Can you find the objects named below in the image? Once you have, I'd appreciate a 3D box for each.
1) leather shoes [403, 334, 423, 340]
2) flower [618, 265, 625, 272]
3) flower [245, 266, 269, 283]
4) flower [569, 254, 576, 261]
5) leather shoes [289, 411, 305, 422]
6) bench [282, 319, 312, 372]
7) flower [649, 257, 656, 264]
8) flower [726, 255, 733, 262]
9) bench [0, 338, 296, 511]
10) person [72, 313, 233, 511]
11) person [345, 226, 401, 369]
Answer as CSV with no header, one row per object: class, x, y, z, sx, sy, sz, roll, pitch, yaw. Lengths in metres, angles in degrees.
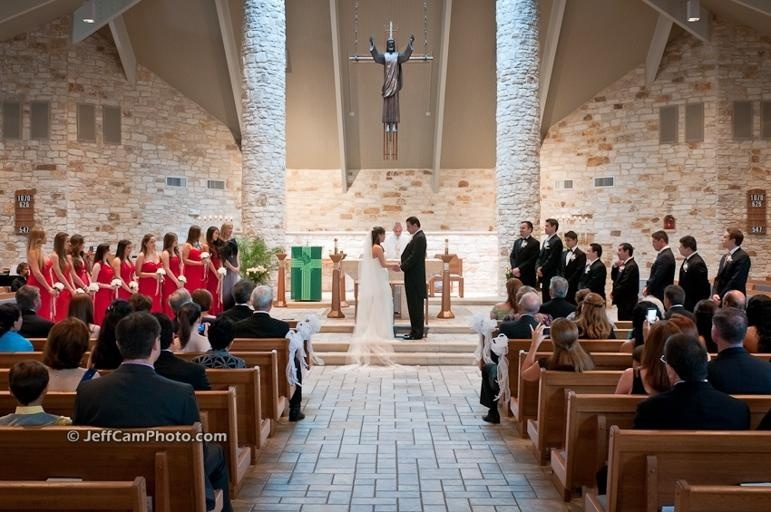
leather shoes,0.433,1.231,9.451,0.301,0.113,0.105,4,-4,-7
flower,3.446,0.191,8.979,0.094,0.042,0.121,12,32,28
flower,-2.352,0.357,11.657,0.396,0.342,0.361,5,-7,-38
flower,2.930,0.027,9.644,0.019,0.069,0.071,11,-9,-39
leather shoes,-0.925,1.700,6.602,0.069,0.106,0.159,5,12,18
bench,-0.893,0.908,6.496,0.317,0.203,0.479,-13,47,-21
flower,5.969,0.102,13.805,0.164,0.158,0.090,0,8,15
flower,4.459,0.035,8.020,0.111,0.105,0.059,2,5,25
bench,-1.700,1.193,4.345,1.437,0.610,1.468,0,-3,1
person,-1.504,1.126,4.114,0.983,1.478,0.533,-2,8,-26
person,-0.169,0.570,8.987,0.635,1.934,0.598,1,8,-3
